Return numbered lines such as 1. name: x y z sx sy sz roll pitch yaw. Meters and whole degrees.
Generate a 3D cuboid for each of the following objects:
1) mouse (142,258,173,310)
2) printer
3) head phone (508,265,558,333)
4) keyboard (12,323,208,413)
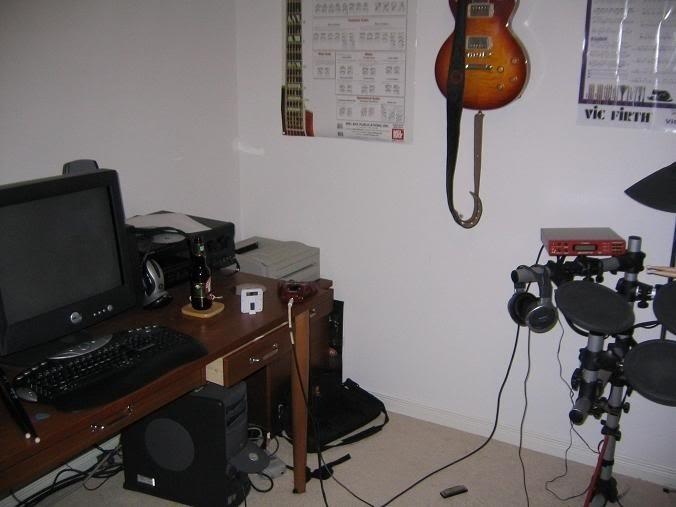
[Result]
1. mouse: -0.789 0.133 2.373 0.171 0.175 0.123 -1 3 36
2. printer: -0.411 0.016 3.160 0.351 0.163 0.259 10 19 33
3. head phone: 0.882 0.193 2.521 0.126 0.307 0.241 -5 7 -11
4. keyboard: -0.813 0.409 1.996 0.318 0.102 0.603 15 21 42
